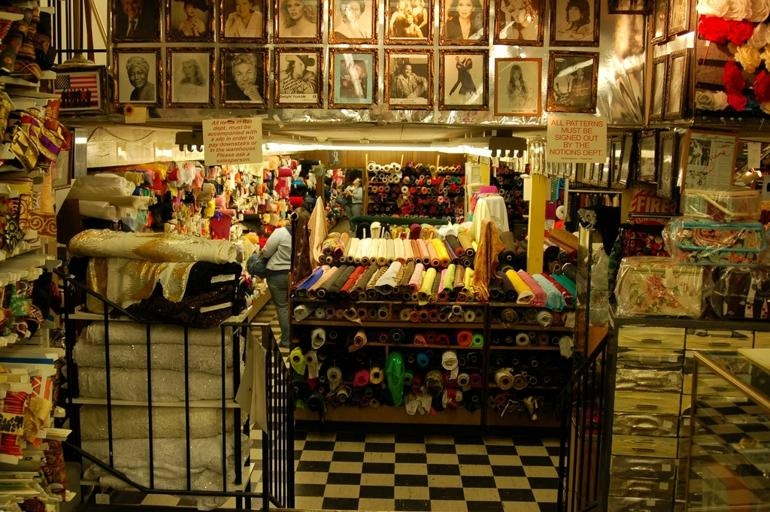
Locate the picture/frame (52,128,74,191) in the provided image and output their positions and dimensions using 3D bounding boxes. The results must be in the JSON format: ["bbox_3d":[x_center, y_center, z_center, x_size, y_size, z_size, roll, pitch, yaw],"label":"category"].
[{"bbox_3d":[-2.873,-0.874,5.894,0.197,0.549,0.433,-5,13,-23],"label":"picture/frame"}]

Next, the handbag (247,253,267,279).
[{"bbox_3d":[-1.663,0.144,8.585,0.347,0.352,0.194,3,6,-1],"label":"handbag"}]

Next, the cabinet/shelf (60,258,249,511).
[{"bbox_3d":[-1.575,1.055,5.487,1.506,1.536,1.368,1,2,4],"label":"cabinet/shelf"}]
